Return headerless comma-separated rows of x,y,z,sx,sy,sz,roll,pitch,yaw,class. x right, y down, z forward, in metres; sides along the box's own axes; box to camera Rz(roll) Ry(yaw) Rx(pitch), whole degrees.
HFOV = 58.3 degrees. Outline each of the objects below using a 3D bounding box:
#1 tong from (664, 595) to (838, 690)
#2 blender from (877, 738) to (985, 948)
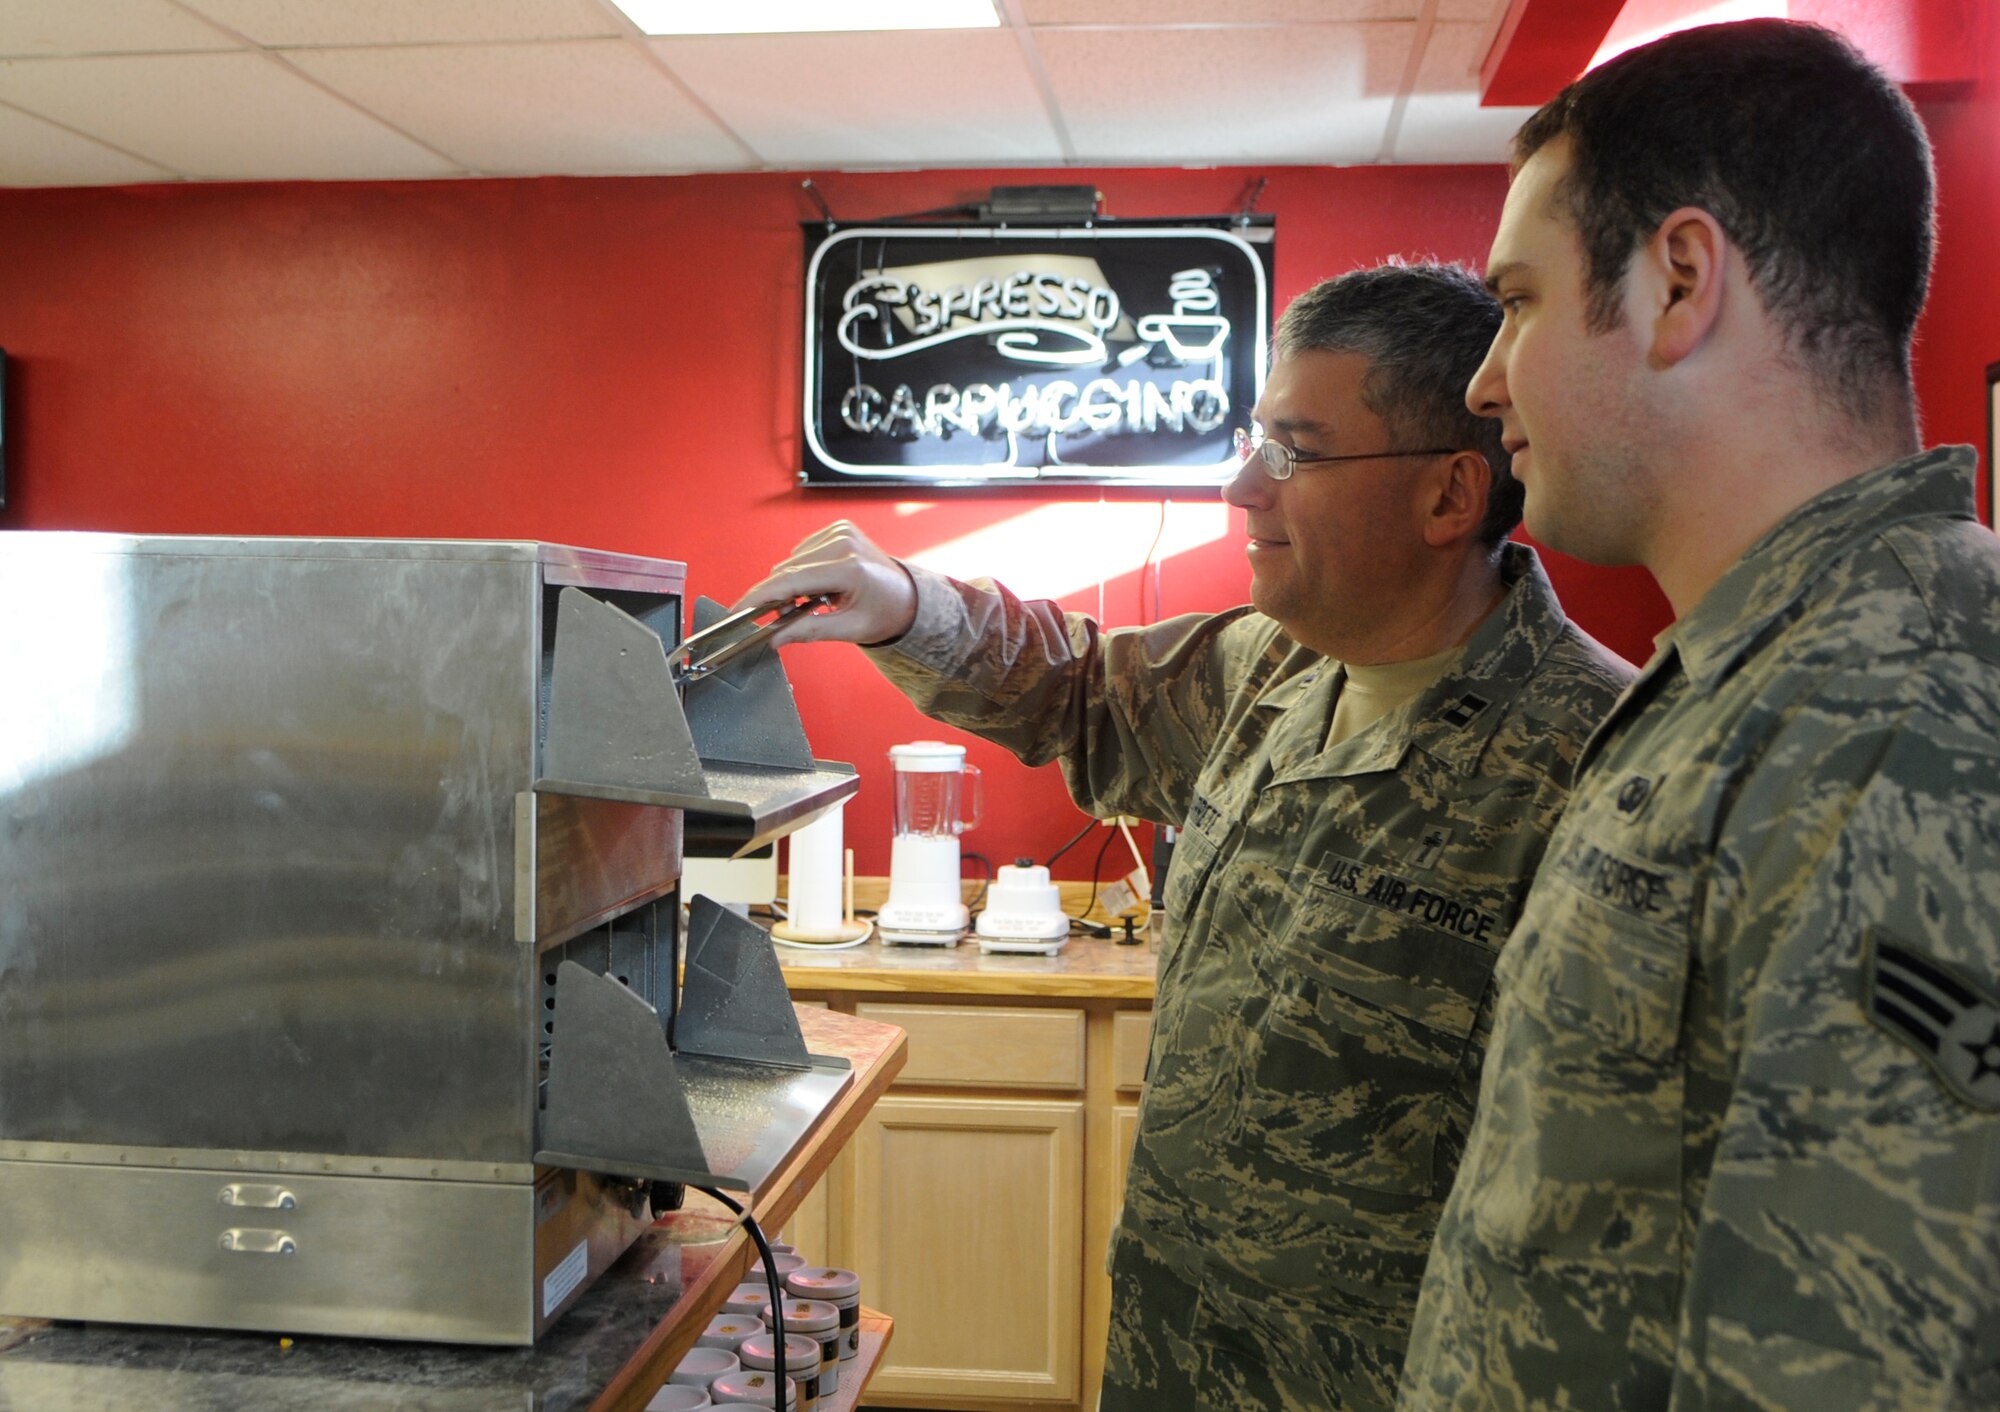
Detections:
-0.254,-0.078,1.997,0.069,0.056,0.246,20,26,39,tong
-0.149,0.290,3.833,0.204,0.406,0.213,3,5,1,blender
